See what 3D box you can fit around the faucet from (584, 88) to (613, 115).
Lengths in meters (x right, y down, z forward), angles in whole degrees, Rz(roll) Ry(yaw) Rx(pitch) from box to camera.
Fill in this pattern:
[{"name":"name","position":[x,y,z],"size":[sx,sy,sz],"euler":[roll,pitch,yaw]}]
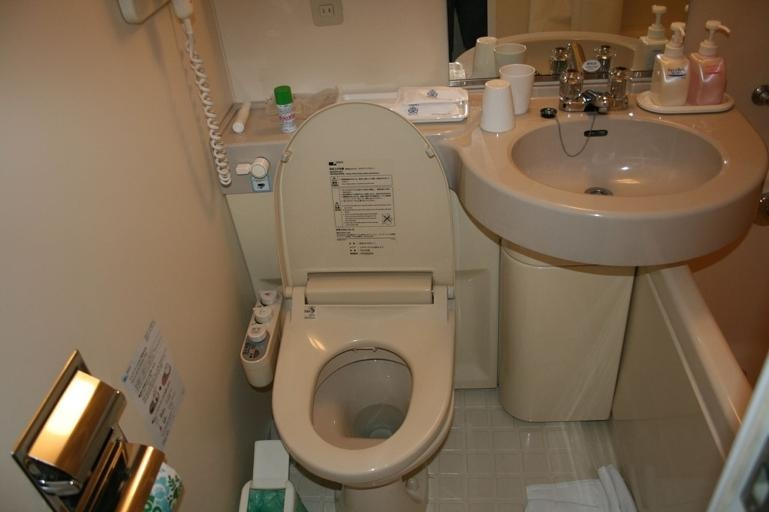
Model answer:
[{"name":"faucet","position":[0.607,-0.439,1.505],"size":[0.052,0.044,0.096],"euler":[-3,35,4]}]

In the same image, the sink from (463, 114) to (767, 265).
[{"name":"sink","position":[0.588,-0.199,1.400],"size":[0.767,0.194,0.487],"euler":[0,36,9]}]

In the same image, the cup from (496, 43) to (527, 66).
[{"name":"cup","position":[0.396,-0.639,1.660],"size":[0.068,0.069,0.063],"euler":[-3,51,4]}]

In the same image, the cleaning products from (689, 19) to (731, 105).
[{"name":"cleaning products","position":[0.920,-0.548,1.501],"size":[0.107,0.208,0.111],"euler":[16,38,39]}]

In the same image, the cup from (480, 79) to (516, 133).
[{"name":"cup","position":[0.323,-0.423,1.493],"size":[0.089,0.099,0.091],"euler":[-5,49,6]}]

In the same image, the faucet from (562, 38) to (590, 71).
[{"name":"faucet","position":[0.593,-0.629,1.643],"size":[0.083,0.138,0.077],"euler":[8,55,23]}]

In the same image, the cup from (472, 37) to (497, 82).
[{"name":"cup","position":[0.315,-0.623,1.673],"size":[0.082,0.096,0.097],"euler":[-7,46,-4]}]

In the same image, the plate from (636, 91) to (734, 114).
[{"name":"plate","position":[0.842,-0.431,1.504],"size":[0.162,0.019,0.123],"euler":[1,50,6]}]
